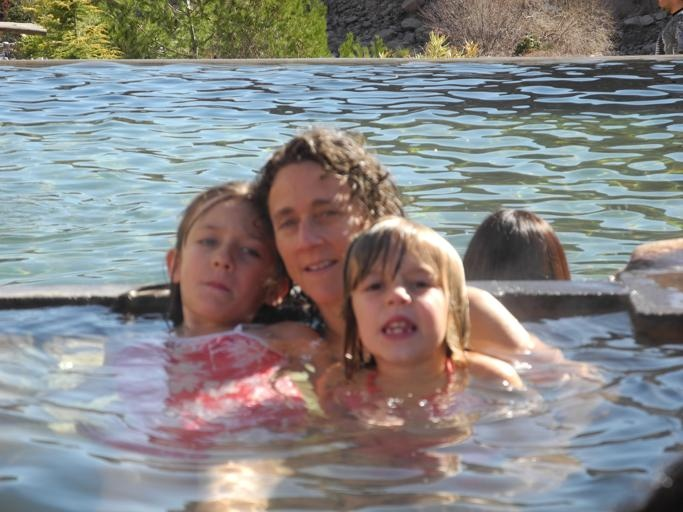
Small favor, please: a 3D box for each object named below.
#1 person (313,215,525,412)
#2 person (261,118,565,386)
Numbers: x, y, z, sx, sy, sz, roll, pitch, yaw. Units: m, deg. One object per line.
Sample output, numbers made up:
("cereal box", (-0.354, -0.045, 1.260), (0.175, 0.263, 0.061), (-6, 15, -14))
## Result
("person", (0.335, 0.338, 4.834), (1.258, 0.884, 0.693), (-3, -12, -4))
("person", (0.227, 0.325, 5.207), (1.116, 2.056, 0.872), (-19, -10, 26))
